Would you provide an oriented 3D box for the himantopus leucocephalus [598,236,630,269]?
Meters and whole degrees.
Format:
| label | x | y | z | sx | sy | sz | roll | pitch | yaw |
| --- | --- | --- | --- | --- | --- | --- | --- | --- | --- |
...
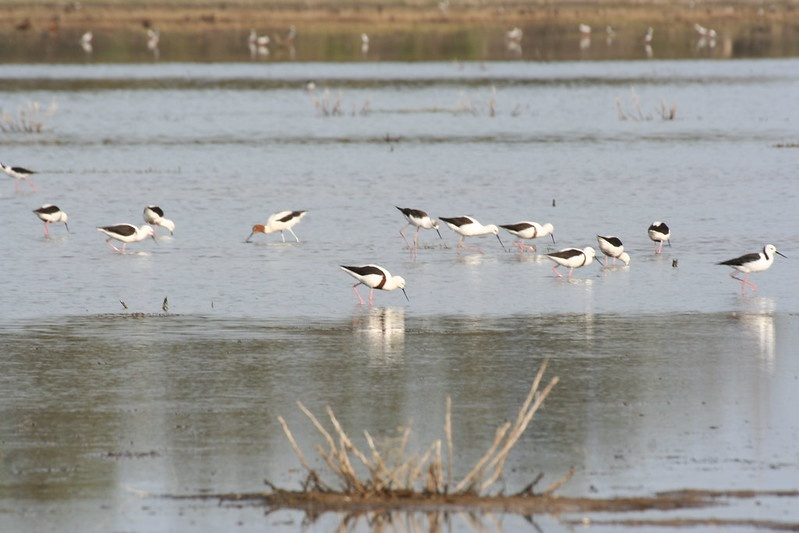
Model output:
| label | x | y | z | sx | sy | sz | roll | pitch | yaw |
| --- | --- | --- | --- | --- | --- | --- | --- | --- | --- |
| himantopus leucocephalus | 7.554 | -0.511 | 49.804 | 1.075 | 1.244 | 1.198 | 8 | 24 | 14 |

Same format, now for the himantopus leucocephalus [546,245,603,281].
| label | x | y | z | sx | sy | sz | roll | pitch | yaw |
| --- | --- | --- | --- | --- | --- | --- | --- | --- | --- |
| himantopus leucocephalus | 5.966 | -0.094 | 49.019 | 1.369 | 1.168 | 1.498 | 7 | 23 | 13 |

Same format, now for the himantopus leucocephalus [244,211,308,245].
| label | x | y | z | sx | sy | sz | roll | pitch | yaw |
| --- | --- | --- | --- | --- | --- | --- | --- | --- | --- |
| himantopus leucocephalus | -4.512 | -1.528 | 53.341 | 2.118 | 1.317 | 1.703 | 0 | 23 | -4 |

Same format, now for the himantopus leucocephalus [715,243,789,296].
| label | x | y | z | sx | sy | sz | roll | pitch | yaw |
| --- | --- | --- | --- | --- | --- | --- | --- | --- | --- |
| himantopus leucocephalus | 11.760 | 0.084 | 47.580 | 2.301 | 1.451 | 1.078 | -1 | -10 | 37 |

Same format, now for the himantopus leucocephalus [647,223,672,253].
| label | x | y | z | sx | sy | sz | roll | pitch | yaw |
| --- | --- | --- | --- | --- | --- | --- | --- | --- | --- |
| himantopus leucocephalus | 9.412 | -1.084 | 51.382 | 0.765 | 1.035 | 1.212 | 7 | 23 | 11 |
